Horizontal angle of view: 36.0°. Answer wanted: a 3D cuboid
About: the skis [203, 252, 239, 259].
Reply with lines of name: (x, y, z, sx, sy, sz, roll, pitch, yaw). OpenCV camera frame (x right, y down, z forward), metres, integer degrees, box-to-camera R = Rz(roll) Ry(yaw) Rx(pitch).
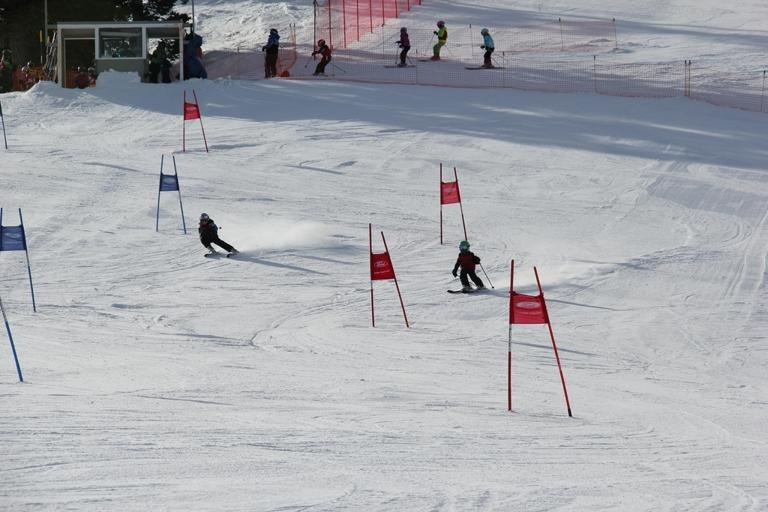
skis: (-4.769, 0.005, 34.531, 1.090, 0.097, 0.257, 2, 29, 3)

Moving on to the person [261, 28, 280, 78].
person: (-4.799, -8.729, 50.660, 0.573, 2.079, 1.167, 2, 16, -8)

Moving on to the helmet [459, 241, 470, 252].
helmet: (2.243, -0.291, 32.409, 0.359, 0.241, 0.343, 4, 29, 9)

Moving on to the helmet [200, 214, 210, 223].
helmet: (-5.162, -1.088, 34.337, 0.336, 0.257, 0.332, 4, 3, 2)

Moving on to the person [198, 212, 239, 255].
person: (-4.859, -0.666, 34.541, 0.998, 1.184, 0.854, -1, 16, -14)

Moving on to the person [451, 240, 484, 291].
person: (2.331, 0.286, 32.308, 0.682, 1.344, 0.805, -12, 22, -42)
